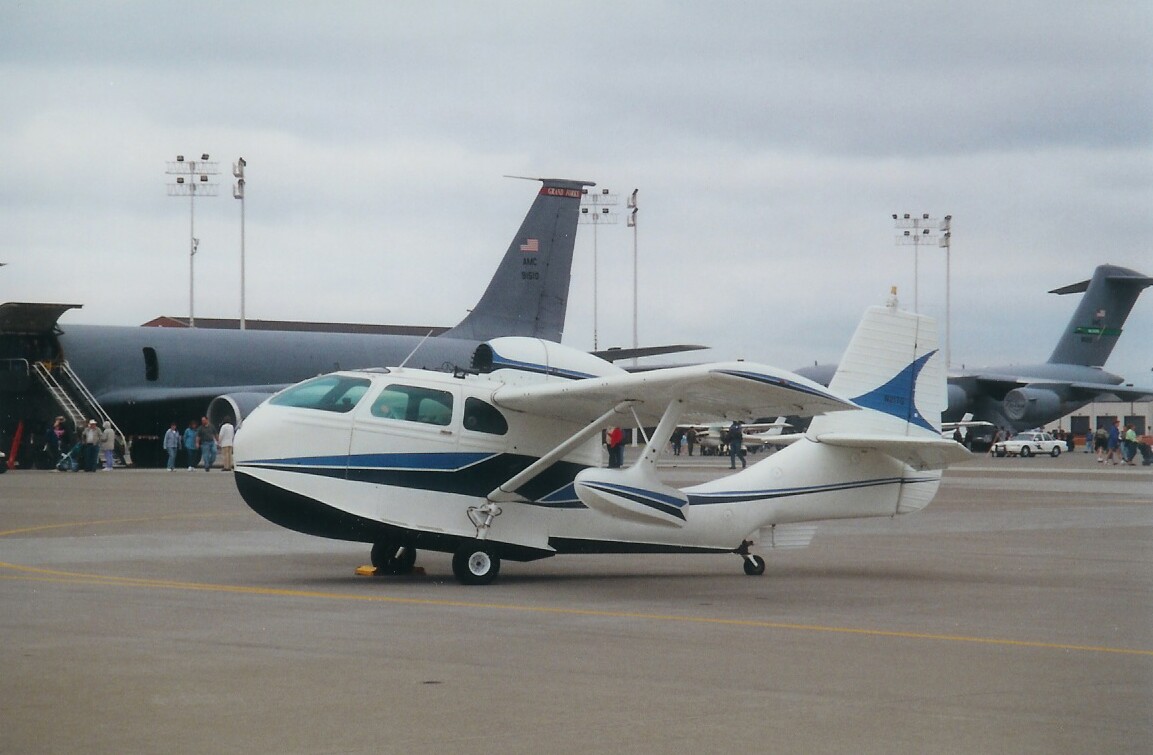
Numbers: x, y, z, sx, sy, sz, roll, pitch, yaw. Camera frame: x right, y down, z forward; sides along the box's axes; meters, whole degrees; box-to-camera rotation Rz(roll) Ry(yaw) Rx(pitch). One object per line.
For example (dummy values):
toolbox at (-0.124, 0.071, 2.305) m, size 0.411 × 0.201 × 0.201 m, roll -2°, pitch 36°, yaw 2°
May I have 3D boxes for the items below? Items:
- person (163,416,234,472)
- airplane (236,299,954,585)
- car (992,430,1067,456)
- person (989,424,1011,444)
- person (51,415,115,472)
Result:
person at (-10.464, 1.789, 42.801) m, size 1.922 × 0.932 × 1.653 m, roll 3°, pitch 4°, yaw 37°
airplane at (0.182, 1.290, 23.162) m, size 6.703 × 2.443 × 6.205 m, roll 2°, pitch -6°, yaw -8°
car at (20.780, 3.067, 70.061) m, size 2.942 × 0.799 × 1.331 m, roll 4°, pitch -6°, yaw -23°
person at (19.921, 2.693, 72.941) m, size 1.023 × 0.950 × 0.474 m, roll -6°, pitch 15°, yaw 35°
person at (-13.034, 1.818, 41.214) m, size 1.494 × 0.917 × 1.685 m, roll 5°, pitch -12°, yaw 12°
